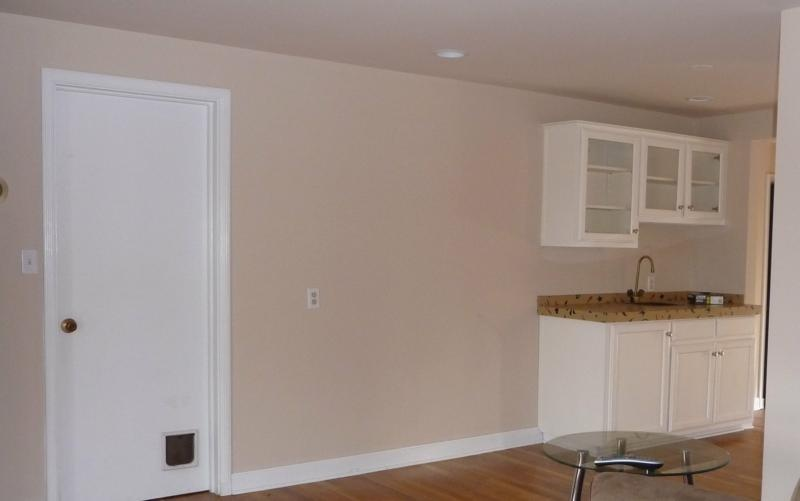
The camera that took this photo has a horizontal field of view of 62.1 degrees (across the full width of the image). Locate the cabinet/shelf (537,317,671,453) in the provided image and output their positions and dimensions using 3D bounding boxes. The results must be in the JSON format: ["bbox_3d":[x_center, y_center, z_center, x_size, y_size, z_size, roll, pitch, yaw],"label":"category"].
[{"bbox_3d":[1.938,1.121,6.139,0.934,1.126,0.916,1,1,-39],"label":"cabinet/shelf"}]

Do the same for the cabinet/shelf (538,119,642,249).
[{"bbox_3d":[1.705,-0.621,6.051,1.245,1.377,0.541,-1,2,-25],"label":"cabinet/shelf"}]

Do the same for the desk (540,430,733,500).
[{"bbox_3d":[1.501,1.402,4.304,1.100,0.401,0.835,10,-8,-26],"label":"desk"}]

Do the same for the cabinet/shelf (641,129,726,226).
[{"bbox_3d":[2.707,-0.670,6.588,1.104,0.844,0.396,2,-1,-22],"label":"cabinet/shelf"}]

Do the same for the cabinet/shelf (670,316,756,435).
[{"bbox_3d":[2.874,1.137,6.433,1.269,1.104,0.437,1,2,-31],"label":"cabinet/shelf"}]
